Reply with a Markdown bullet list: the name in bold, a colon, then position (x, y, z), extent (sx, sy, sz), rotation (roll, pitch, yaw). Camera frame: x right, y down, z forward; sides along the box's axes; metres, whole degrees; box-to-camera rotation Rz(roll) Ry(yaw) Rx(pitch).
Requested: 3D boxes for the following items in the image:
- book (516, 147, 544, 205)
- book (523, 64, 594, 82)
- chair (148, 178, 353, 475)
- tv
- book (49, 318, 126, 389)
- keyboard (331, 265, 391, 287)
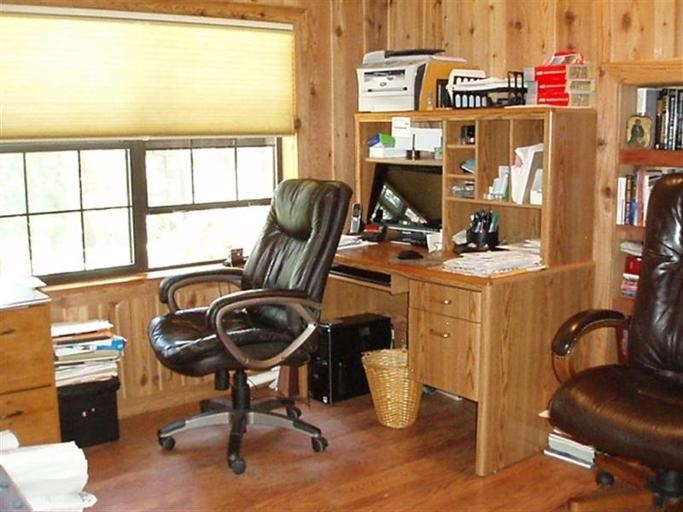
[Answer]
- **book**: position (0.975, -0.425, 3.028), extent (0.074, 0.231, 0.290), rotation (14, 7, 25)
- **book**: position (1.139, -0.950, 3.013), extent (0.185, 0.037, 0.153), rotation (-2, 8, -14)
- **chair**: position (-0.501, 0.321, 3.081), extent (0.987, 1.418, 0.737), rotation (-8, 15, -29)
- **tv**: position (0.421, -0.330, 3.756), extent (0.154, 0.361, 0.614), rotation (10, 5, -45)
- **book**: position (-1.398, 0.521, 3.191), extent (0.355, 0.299, 0.281), rotation (-7, 14, -25)
- **keyboard**: position (0.125, 0.105, 3.270), extent (0.238, 0.025, 0.156), rotation (8, 9, 26)
